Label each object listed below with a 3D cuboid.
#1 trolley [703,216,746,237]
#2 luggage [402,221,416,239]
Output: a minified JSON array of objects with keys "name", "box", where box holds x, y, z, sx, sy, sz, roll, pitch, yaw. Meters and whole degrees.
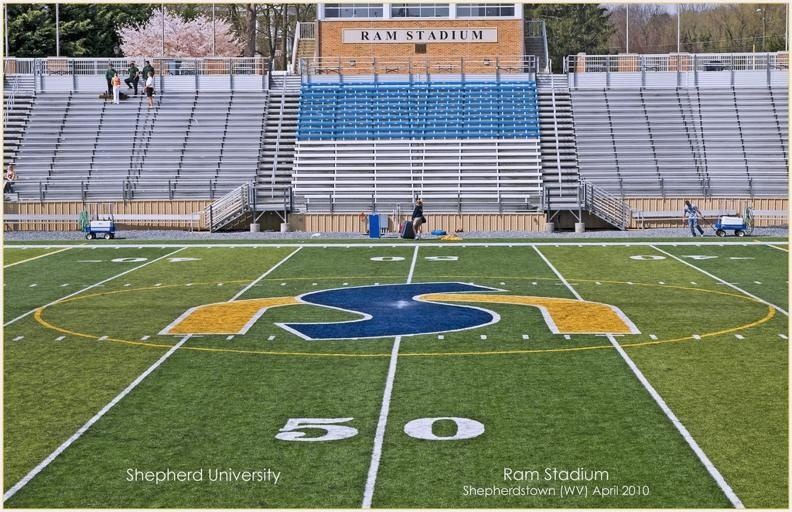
[{"name":"trolley","box":[14.731,-1.325,32.450,1.664,0.753,0.838,-1,5,4]},{"name":"luggage","box":[0.597,-1.178,33.194,0.872,0.906,0.540,3,35,-5]}]
